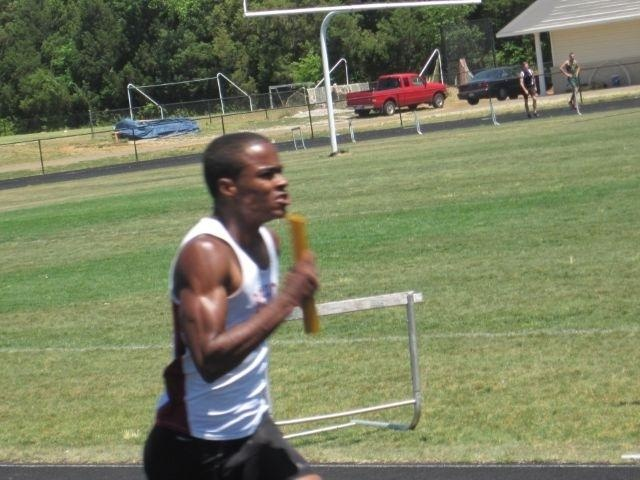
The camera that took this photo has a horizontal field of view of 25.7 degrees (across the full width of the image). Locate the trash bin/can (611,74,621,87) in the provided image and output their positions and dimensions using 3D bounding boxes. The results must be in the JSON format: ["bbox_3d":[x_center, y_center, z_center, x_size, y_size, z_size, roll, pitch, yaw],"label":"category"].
[{"bbox_3d":[15.156,-8.023,71.799,0.596,0.585,0.337,-5,5,13],"label":"trash bin/can"}]

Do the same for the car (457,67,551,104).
[{"bbox_3d":[9.006,-7.499,72.552,4.201,1.389,2.004,-17,16,-34],"label":"car"}]

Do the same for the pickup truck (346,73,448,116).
[{"bbox_3d":[4.189,-7.688,75.220,5.437,2.053,2.251,-13,8,-44],"label":"pickup truck"}]
